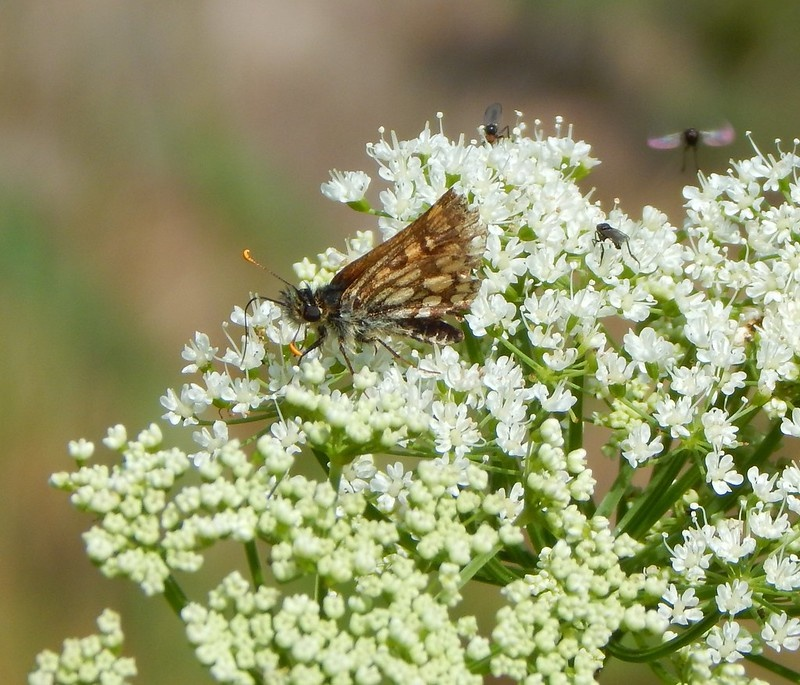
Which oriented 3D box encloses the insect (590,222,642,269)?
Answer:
[{"bbox_3d":[1.280,-0.611,6.262,0.284,0.185,0.113,40,-48,17],"label":"insect"}]
